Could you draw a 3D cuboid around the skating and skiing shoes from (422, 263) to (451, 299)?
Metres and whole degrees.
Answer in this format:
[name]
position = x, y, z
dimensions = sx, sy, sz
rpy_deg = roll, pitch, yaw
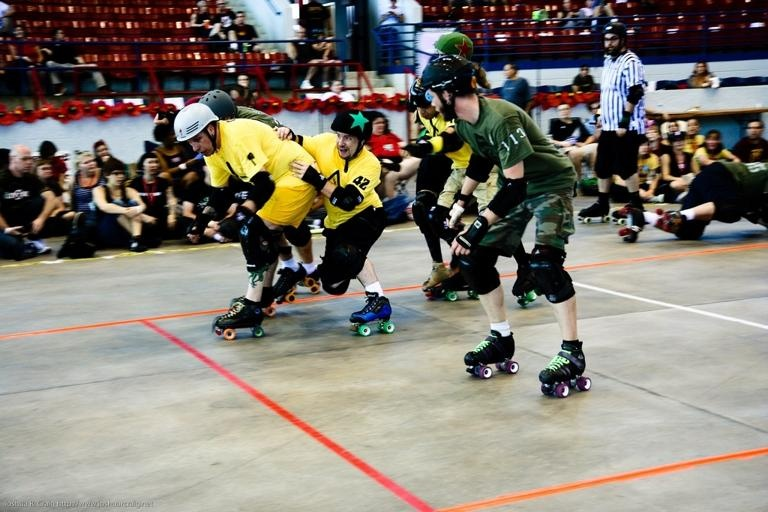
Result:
[skating and skiing shoes]
position = 0.553, 0.258, 6.563
dimensions = 0.285, 0.406, 0.208
rpy_deg = -3, 15, 4

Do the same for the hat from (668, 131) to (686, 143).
[hat]
position = 5.407, -2.199, 11.584
dimensions = 0.291, 0.203, 0.339
rpy_deg = 0, 12, 16
